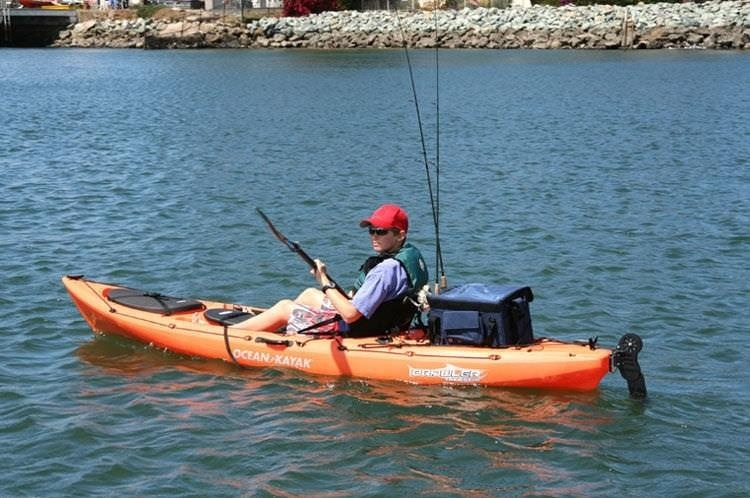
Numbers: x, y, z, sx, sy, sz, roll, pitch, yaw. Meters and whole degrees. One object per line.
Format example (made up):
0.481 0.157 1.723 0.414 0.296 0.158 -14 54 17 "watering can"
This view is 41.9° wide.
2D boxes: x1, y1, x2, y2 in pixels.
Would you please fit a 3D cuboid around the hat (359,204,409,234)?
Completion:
0.140 -0.426 14.198 0.621 0.399 0.281 -5 20 -9 "hat"

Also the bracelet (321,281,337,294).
-0.670 0.556 14.140 0.293 0.107 0.200 3 -25 -19 "bracelet"
